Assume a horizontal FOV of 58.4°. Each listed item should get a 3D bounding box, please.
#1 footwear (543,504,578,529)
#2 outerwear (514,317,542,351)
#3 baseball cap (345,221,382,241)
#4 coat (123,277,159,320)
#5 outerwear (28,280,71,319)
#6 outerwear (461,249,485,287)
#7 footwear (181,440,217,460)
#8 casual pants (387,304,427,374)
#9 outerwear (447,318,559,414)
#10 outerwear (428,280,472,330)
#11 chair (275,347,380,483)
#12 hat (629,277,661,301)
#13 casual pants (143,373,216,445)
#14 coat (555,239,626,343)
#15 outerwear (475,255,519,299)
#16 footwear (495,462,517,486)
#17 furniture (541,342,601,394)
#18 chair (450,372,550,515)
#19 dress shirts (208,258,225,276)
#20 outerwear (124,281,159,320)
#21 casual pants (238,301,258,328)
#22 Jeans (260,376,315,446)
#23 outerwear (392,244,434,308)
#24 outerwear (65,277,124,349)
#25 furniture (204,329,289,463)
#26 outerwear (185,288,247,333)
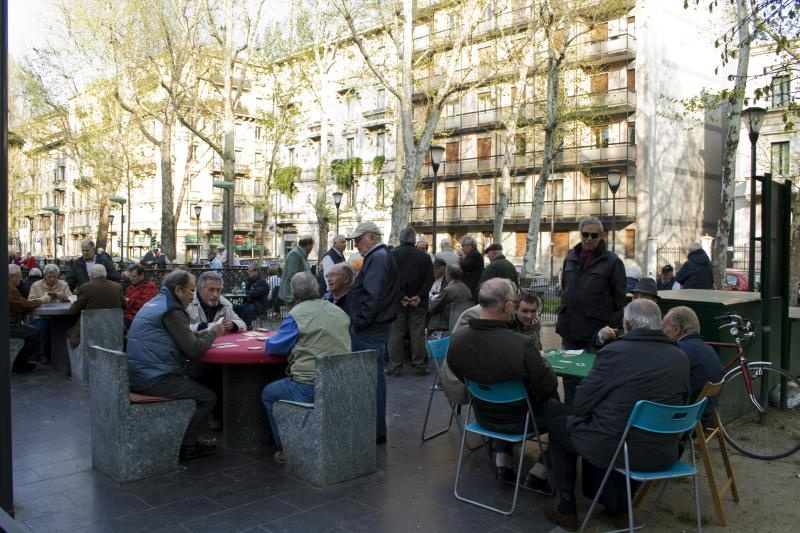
[{"bbox_3d":[1.926,2.988,8.582,0.182,0.167,0.406,-3,8,-39],"label":"footwear"},{"bbox_3d":[1.843,0.899,10.214,0.402,0.545,0.228,-17,-5,-9],"label":"outerwear"},{"bbox_3d":[-0.521,-0.564,11.336,0.375,0.202,0.264,2,-3,-6],"label":"baseball cap"},{"bbox_3d":[-4.718,0.590,12.989,0.577,0.881,0.739,12,-9,-38],"label":"coat"},{"bbox_3d":[-7.220,0.679,14.736,0.720,1.012,0.638,-2,-9,-42],"label":"outerwear"},{"bbox_3d":[1.490,0.050,14.638,0.446,0.771,0.579,11,17,37],"label":"outerwear"},{"bbox_3d":[-2.836,2.548,10.044,0.516,0.225,0.174,-1,5,-39],"label":"footwear"},{"bbox_3d":[0.147,1.332,14.242,0.696,1.657,0.507,4,9,3],"label":"casual pants"},{"bbox_3d":[1.274,1.246,9.144,1.507,1.259,0.787,0,17,43],"label":"outerwear"},{"bbox_3d":[0.992,0.737,13.937,0.807,1.036,0.660,-10,20,-35],"label":"outerwear"},{"bbox_3d":[-0.728,1.976,10.221,1.472,2.152,1.534,0,1,-36],"label":"chair"},{"bbox_3d":[3.774,0.349,10.771,0.352,0.209,0.489,-1,-15,42],"label":"hat"},{"bbox_3d":[-3.091,2.198,10.102,0.750,0.732,1.094,-10,-16,-2],"label":"casual pants"},{"bbox_3d":[2.992,0.361,11.276,1.046,1.571,0.752,5,-2,39],"label":"coat"},{"bbox_3d":[1.944,0.082,13.814,1.139,0.964,0.624,-1,6,-17],"label":"outerwear"},{"bbox_3d":[1.381,2.730,9.491,0.337,0.328,0.201,0,-16,0],"label":"footwear"},{"bbox_3d":[2.296,1.341,9.486,0.763,0.196,0.565,7,16,32],"label":"furniture"},{"bbox_3d":[1.380,2.020,9.250,1.097,1.998,1.210,9,19,44],"label":"chair"},{"bbox_3d":[-5.628,-0.003,22.034,0.385,0.655,0.680,10,-12,-43],"label":"dress shirts"},{"bbox_3d":[-4.662,0.611,12.856,0.472,0.821,0.692,9,-8,-38],"label":"outerwear"},{"bbox_3d":[-3.738,1.154,17.492,0.435,0.614,0.268,8,5,34],"label":"casual pants"},{"bbox_3d":[-1.533,1.915,9.673,0.863,0.898,0.293,-4,-2,44],"label":"Jeans"},{"bbox_3d":[0.232,0.202,13.219,1.015,1.496,0.611,-1,26,-2],"label":"outerwear"},{"bbox_3d":[-5.954,0.913,14.024,0.694,1.395,1.052,9,6,38],"label":"outerwear"},{"bbox_3d":[-2.177,1.998,10.825,1.688,1.295,1.759,1,-9,-25],"label":"furniture"},{"bbox_3d":[-2.927,0.627,11.939,0.868,0.353,0.700,27,4,29],"label":"outerwear"}]
